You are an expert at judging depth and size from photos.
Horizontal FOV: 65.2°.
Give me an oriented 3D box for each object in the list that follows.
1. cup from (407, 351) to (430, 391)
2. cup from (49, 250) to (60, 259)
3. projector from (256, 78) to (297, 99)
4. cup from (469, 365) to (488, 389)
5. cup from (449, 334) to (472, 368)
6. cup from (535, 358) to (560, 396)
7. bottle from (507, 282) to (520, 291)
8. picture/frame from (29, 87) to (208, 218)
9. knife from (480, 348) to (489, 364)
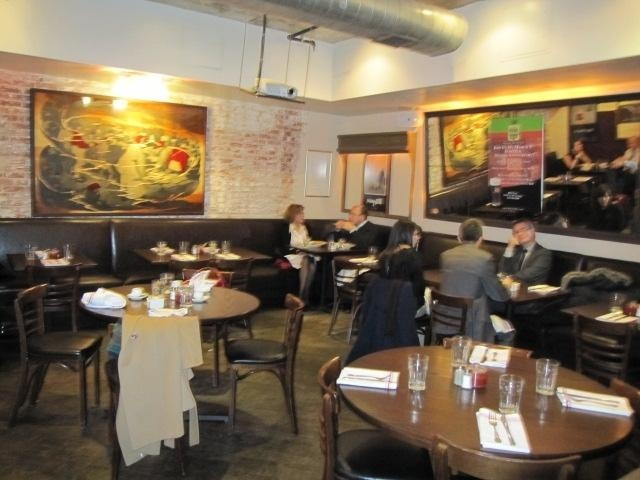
[{"bbox_3d":[0.599,0.773,3.035,0.130,0.196,0.274,8,13,14],"label":"cup"},{"bbox_3d":[-3.068,0.165,5.771,0.135,0.074,0.121,-2,8,-26],"label":"cup"},{"bbox_3d":[-0.509,-1.926,6.353,0.401,0.104,0.248,0,4,-38],"label":"projector"},{"bbox_3d":[0.953,0.841,3.061,0.147,0.106,0.102,1,2,29],"label":"cup"},{"bbox_3d":[0.916,0.714,3.242,0.119,0.204,0.189,9,15,18],"label":"cup"},{"bbox_3d":[1.378,0.806,3.033,0.137,0.201,0.230,11,15,25],"label":"cup"},{"bbox_3d":[1.983,0.470,5.105,0.116,0.078,0.094,0,-2,2],"label":"bottle"},{"bbox_3d":[-2.967,-1.282,7.125,2.591,1.340,0.051,-1,11,-31],"label":"picture/frame"},{"bbox_3d":[1.110,0.782,3.377,0.036,0.009,0.236,15,11,13],"label":"knife"}]
